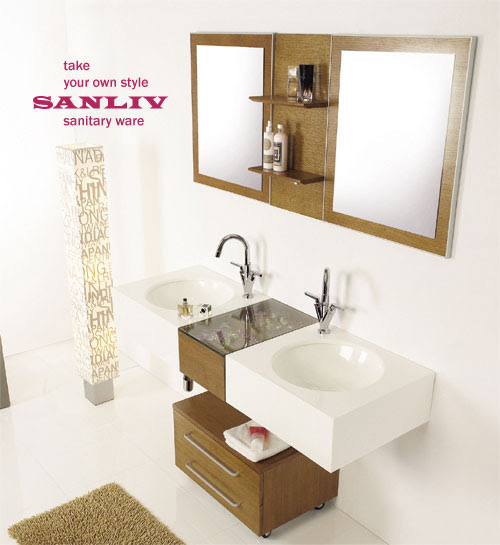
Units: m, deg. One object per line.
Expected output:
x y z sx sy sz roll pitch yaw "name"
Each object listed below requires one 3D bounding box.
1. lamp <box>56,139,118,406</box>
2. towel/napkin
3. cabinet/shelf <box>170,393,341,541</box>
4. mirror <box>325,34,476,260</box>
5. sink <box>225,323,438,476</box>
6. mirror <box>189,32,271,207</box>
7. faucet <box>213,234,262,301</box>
-0.927 0.058 2.869 0.249 1.538 0.230 -8 21 -23 "lamp"
0.024 0.651 1.969 0.146 0.042 0.145 -12 21 -42 "towel/napkin"
0.036 0.676 2.091 0.463 0.387 0.637 -11 20 -34 "cabinet/shelf"
0.482 -0.414 1.550 0.023 0.717 0.568 -13 27 -34 "mirror"
0.330 0.243 1.605 0.489 0.220 0.557 -12 21 -36 "sink"
-0.084 -0.716 2.236 0.024 0.773 0.624 -13 25 -32 "mirror"
-0.044 -0.056 2.341 0.204 0.313 0.379 1 20 2 "faucet"
